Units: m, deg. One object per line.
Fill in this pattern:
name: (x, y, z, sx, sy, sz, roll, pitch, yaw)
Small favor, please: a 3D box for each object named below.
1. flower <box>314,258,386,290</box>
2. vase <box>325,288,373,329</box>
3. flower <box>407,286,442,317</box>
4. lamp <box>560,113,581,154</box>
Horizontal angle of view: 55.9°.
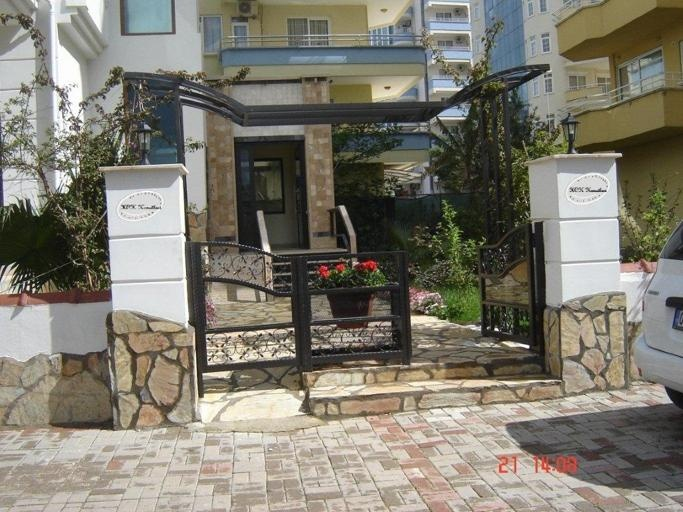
flower: (0.103, 0.268, 9.258, 1.032, 0.413, 0.345, 2, 13, 18)
vase: (0.129, 0.722, 9.398, 0.698, 0.495, 0.578, -2, -12, 0)
flower: (1.746, 0.960, 13.588, 0.717, 0.473, 0.699, 0, 6, 4)
lamp: (3.125, -1.698, 8.879, 0.244, 0.553, 0.242, -16, 14, -36)
